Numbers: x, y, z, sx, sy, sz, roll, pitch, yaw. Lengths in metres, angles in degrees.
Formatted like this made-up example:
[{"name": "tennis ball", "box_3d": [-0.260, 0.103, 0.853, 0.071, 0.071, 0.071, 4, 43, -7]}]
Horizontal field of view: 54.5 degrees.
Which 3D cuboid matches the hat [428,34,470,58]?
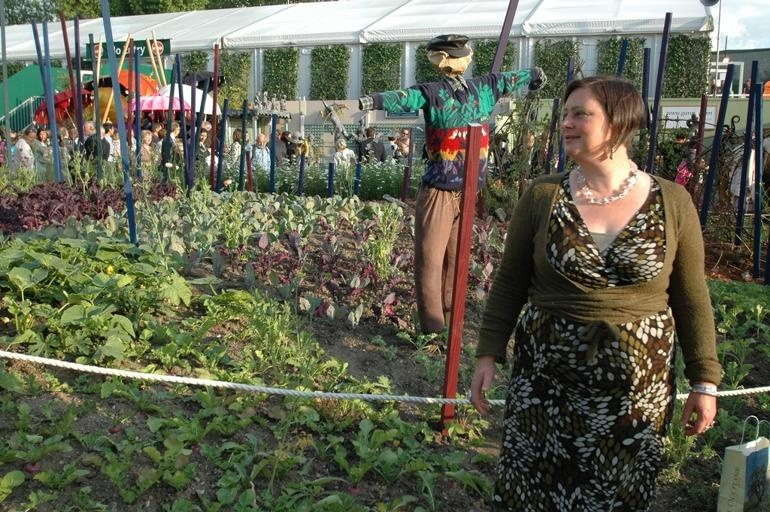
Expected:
[{"name": "hat", "box_3d": [0.456, -1.534, 5.456, 0.222, 0.095, 0.195, 17, 25, 28]}]
